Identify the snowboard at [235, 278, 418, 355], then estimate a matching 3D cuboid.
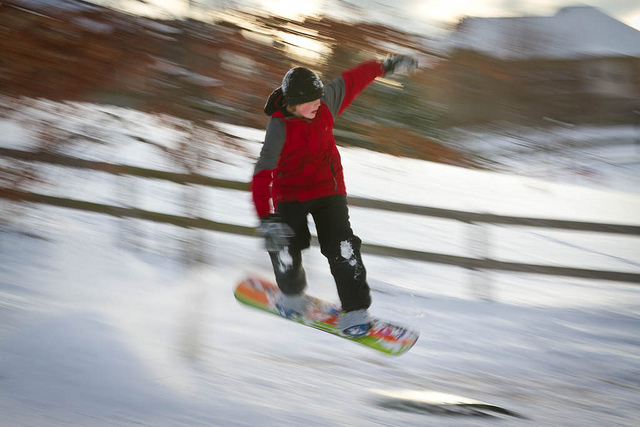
[{"bbox_3d":[0.042,1.033,7.035,2.551,0.176,0.517,10,33,18],"label":"snowboard"}]
